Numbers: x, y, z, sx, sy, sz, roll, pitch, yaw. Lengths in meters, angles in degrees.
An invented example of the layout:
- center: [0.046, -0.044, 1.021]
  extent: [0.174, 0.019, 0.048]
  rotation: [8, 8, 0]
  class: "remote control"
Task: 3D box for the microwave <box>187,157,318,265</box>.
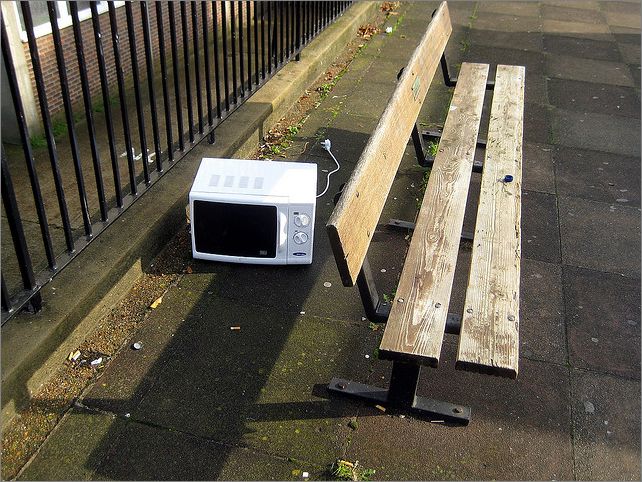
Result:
- center: [-0.452, -0.179, 4.104]
  extent: [0.940, 0.682, 0.692]
  rotation: [3, 46, 0]
  class: "microwave"
